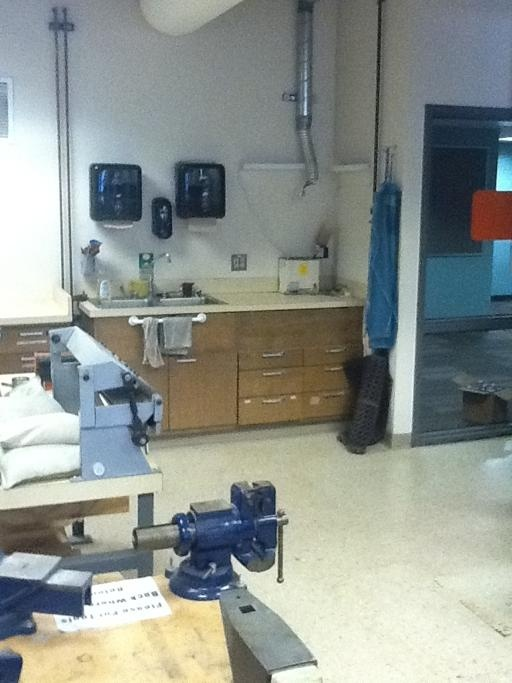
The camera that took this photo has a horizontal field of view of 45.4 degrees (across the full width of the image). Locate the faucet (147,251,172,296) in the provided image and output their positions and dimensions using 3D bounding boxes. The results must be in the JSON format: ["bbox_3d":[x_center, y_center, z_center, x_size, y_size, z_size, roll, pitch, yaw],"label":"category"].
[{"bbox_3d":[-0.762,-0.536,4.860,0.152,0.345,0.199,0,10,-1],"label":"faucet"}]

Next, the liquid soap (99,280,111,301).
[{"bbox_3d":[-1.153,-0.394,4.652,0.084,0.145,0.254,-2,10,-13],"label":"liquid soap"}]
